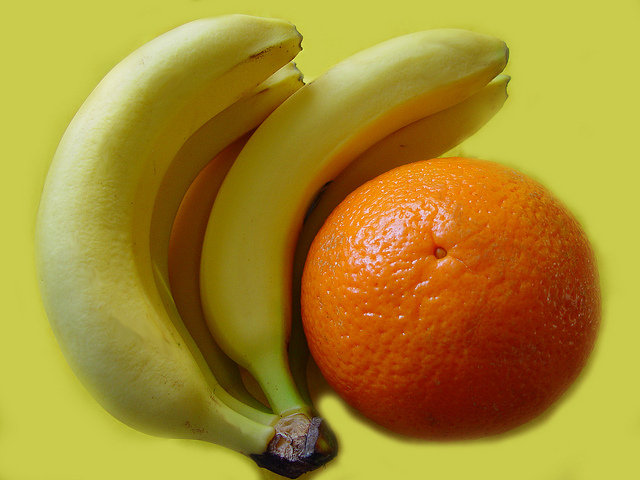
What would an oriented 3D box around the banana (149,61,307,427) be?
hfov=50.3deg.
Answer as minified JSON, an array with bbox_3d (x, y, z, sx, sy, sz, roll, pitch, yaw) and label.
[{"bbox_3d":[-0.129,0.015,0.968,0.160,0.510,0.087,-20,2,-13],"label":"banana"}]
